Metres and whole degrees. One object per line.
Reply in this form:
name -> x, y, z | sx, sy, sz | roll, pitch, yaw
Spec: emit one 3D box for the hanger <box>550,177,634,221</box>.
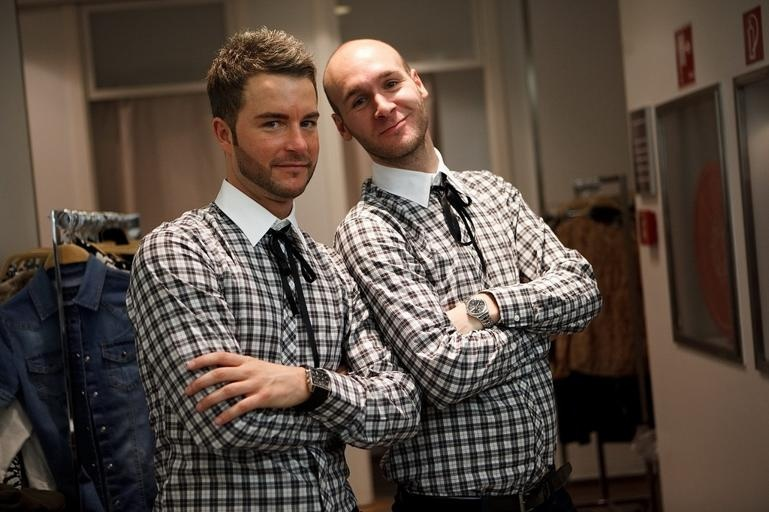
hanger -> 0.990, -0.283, 3.060 | 0.238, 0.194, 0.247 | -1, -6, -10
